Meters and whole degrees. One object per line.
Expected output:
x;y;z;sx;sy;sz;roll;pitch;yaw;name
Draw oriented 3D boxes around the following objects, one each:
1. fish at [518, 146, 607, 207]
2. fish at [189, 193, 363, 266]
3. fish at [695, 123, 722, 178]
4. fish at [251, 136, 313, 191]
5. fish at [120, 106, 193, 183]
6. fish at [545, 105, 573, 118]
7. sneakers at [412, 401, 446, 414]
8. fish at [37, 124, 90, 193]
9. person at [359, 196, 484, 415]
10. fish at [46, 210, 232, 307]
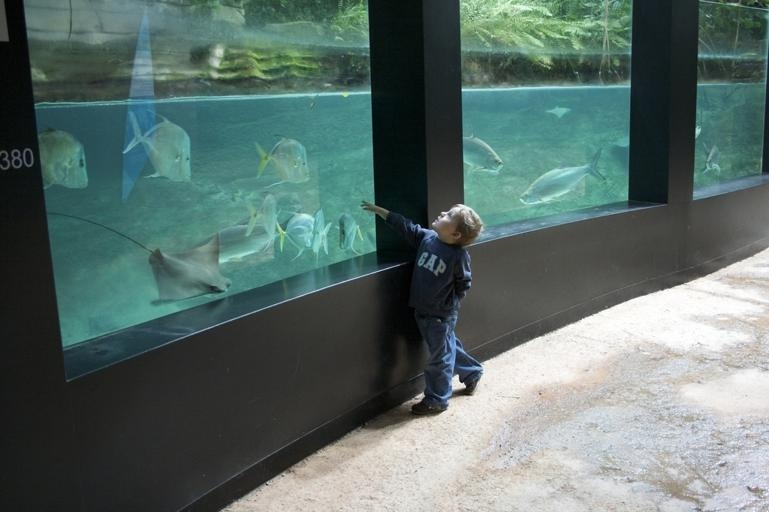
1.934;-0.858;5.837;1.409;0.492;0.060;-14;21;-37;fish
-0.677;-0.204;3.901;0.309;0.501;1.267;5;13;39;fish
4.552;-1.366;7.512;0.586;0.498;0.091;-14;21;-37;fish
-0.715;-0.675;3.843;0.060;0.322;0.449;13;22;40;fish
-1.416;-0.690;3.430;0.624;0.380;0.196;27;22;23;fish
1.849;-1.525;5.679;0.190;0.009;0.151;-6;54;-25;fish
0.351;1.142;4.162;0.236;0.101;0.108;3;0;-11;sneakers
-1.771;-0.531;2.987;0.074;0.282;0.283;4;5;42;fish
0.448;0.369;4.217;0.670;1.517;0.617;-7;18;-18;person
-1.372;0.056;3.375;0.482;0.692;0.075;-31;30;54;fish
